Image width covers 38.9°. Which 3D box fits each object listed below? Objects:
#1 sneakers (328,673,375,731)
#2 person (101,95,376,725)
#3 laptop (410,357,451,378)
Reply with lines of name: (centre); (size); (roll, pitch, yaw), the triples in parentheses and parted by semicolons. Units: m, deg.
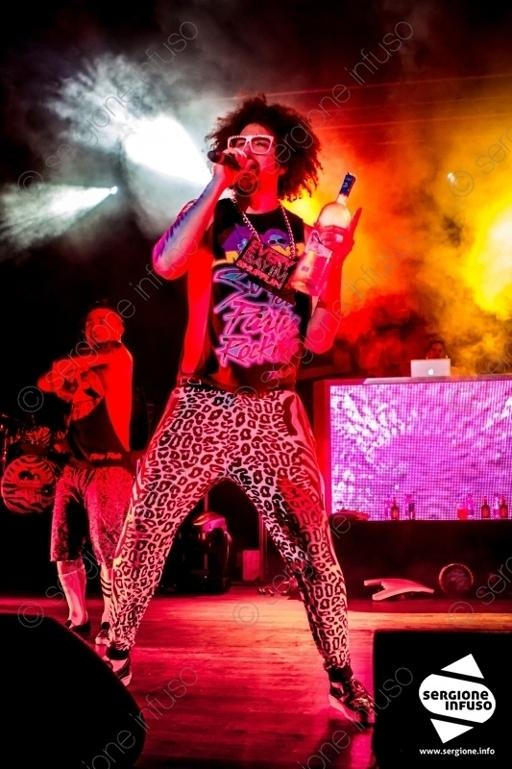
sneakers: (0.230, 0.783, 1.823); (0.094, 0.111, 0.199); (11, -15, -21)
person: (0.030, 0.008, 1.884); (0.680, 1.610, 0.483); (6, -16, -3)
laptop: (1.194, -0.112, 4.893); (0.230, 0.123, 0.147); (0, -8, 5)
